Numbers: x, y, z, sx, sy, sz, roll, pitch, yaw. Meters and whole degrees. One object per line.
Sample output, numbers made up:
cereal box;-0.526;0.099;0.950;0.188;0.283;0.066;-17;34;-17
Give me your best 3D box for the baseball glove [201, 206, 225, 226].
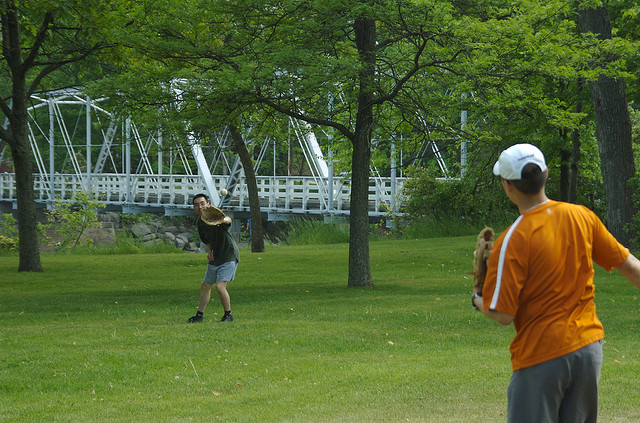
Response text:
baseball glove;-2.745;0.099;32.451;0.591;0.460;0.358;0;13;-1
